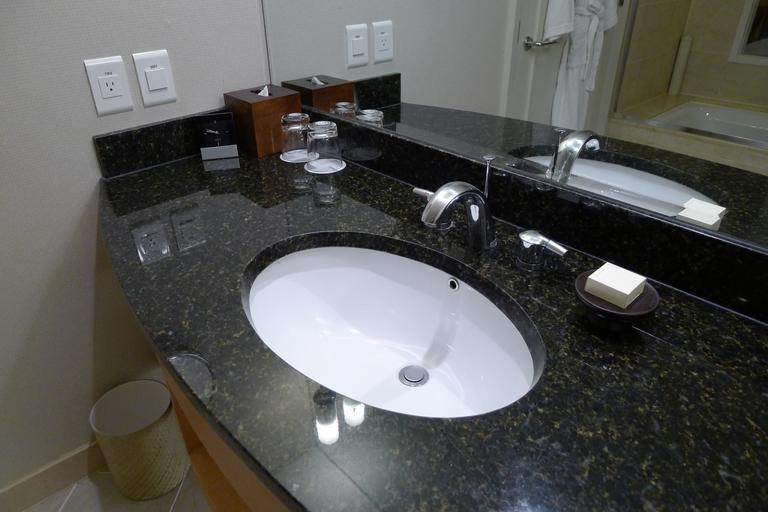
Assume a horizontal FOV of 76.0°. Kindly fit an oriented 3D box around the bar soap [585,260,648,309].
[{"bbox_3d":[0.498,0.054,1.052,0.095,0.042,0.094,-33,43,-31],"label":"bar soap"}]

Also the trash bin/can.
[{"bbox_3d":[-0.917,0.693,1.862,0.278,0.349,0.287,-22,39,-26],"label":"trash bin/can"}]

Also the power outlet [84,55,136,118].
[{"bbox_3d":[-0.867,-0.536,1.535,0.150,0.211,0.028,-18,35,-36],"label":"power outlet"}]

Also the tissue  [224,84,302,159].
[{"bbox_3d":[-0.427,-0.510,1.724,0.263,0.259,0.168,-15,32,-36],"label":"tissue "}]

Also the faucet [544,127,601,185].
[{"bbox_3d":[0.448,-0.245,1.209,0.098,0.095,0.123,8,26,4],"label":"faucet"}]

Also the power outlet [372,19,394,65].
[{"bbox_3d":[-0.010,-0.728,1.677,0.073,0.130,0.042,-14,33,-18],"label":"power outlet"}]

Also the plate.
[{"bbox_3d":[0.494,0.084,1.051,0.115,0.058,0.154,0,24,-13],"label":"plate"}]

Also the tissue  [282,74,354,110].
[{"bbox_3d":[-0.210,-0.614,1.768,0.282,0.120,0.213,20,28,26],"label":"tissue "}]
